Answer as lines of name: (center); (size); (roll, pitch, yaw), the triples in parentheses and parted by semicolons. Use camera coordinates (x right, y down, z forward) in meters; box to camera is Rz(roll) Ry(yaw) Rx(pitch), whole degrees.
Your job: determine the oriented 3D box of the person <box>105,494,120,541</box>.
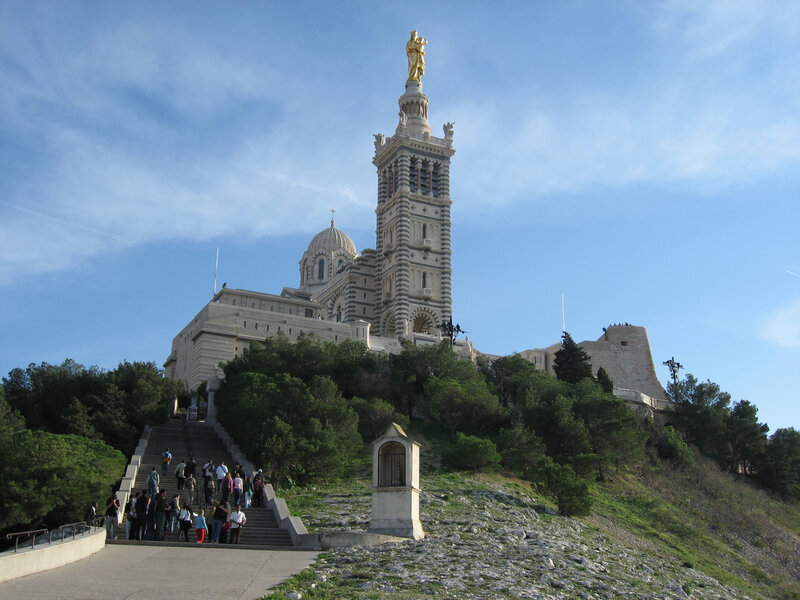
person: (-10.806, 8.155, 27.860); (0.465, 1.350, 1.277); (6, -4, -20)
